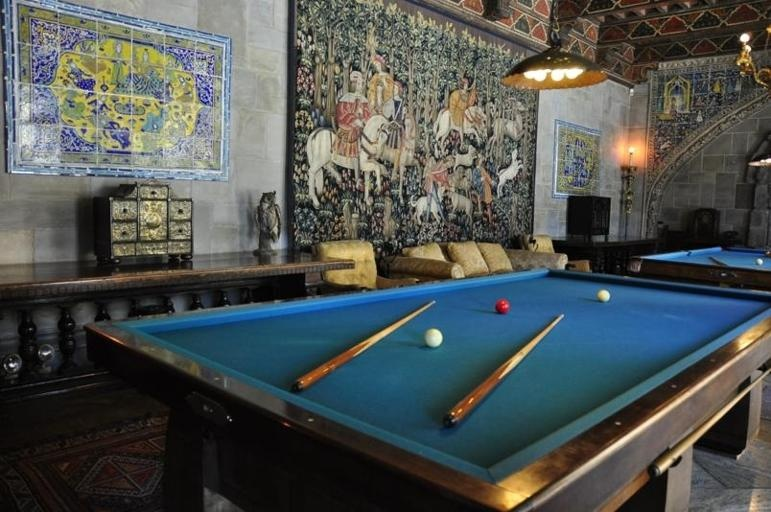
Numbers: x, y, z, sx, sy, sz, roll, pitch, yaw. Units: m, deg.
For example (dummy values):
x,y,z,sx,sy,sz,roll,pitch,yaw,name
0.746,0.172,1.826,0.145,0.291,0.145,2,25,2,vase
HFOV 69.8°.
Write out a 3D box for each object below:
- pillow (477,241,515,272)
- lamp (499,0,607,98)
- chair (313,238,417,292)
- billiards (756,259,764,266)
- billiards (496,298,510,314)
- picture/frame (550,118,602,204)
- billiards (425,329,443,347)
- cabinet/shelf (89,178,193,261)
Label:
x,y,z,sx,sy,sz,roll,pitch,yaw,name
1.372,0.015,6.951,0.420,0.384,0.126,4,-30,-35,pillow
1.332,-1.591,4.417,0.771,0.400,0.621,-1,6,4,lamp
-0.247,0.075,5.279,0.609,0.813,0.637,-1,2,44,chair
3.800,0.065,5.626,0.047,0.055,0.115,-6,11,27,billiards
0.662,0.292,3.189,0.073,0.077,0.087,8,33,31,billiards
3.007,-1.546,8.833,1.430,2.088,0.086,-4,3,-43,picture/frame
0.220,0.385,2.606,0.074,0.091,0.076,4,35,26,billiards
-1.765,-0.266,4.313,0.630,0.635,0.324,-1,-4,-5,cabinet/shelf
